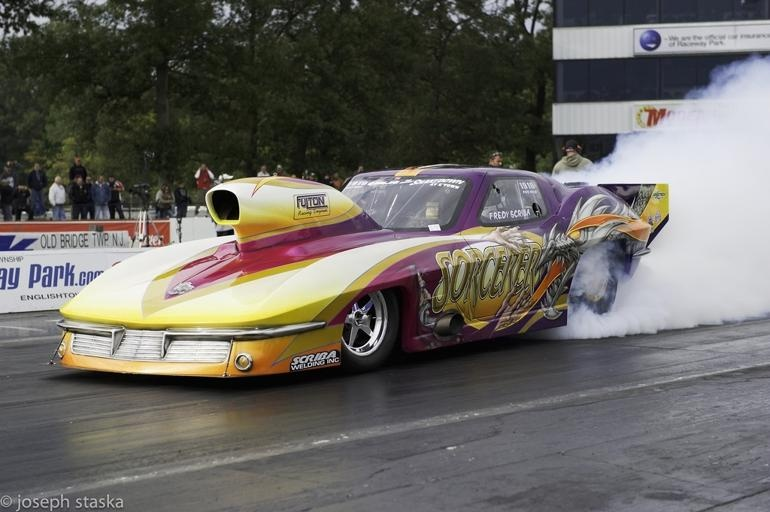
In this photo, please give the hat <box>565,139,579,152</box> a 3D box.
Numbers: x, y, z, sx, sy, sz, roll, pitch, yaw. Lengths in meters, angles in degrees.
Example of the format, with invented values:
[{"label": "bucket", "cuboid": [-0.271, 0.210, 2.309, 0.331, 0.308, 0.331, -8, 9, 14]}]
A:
[{"label": "hat", "cuboid": [3.127, -1.822, 14.976, 0.212, 0.182, 0.330, 1, 10, 10]}]
